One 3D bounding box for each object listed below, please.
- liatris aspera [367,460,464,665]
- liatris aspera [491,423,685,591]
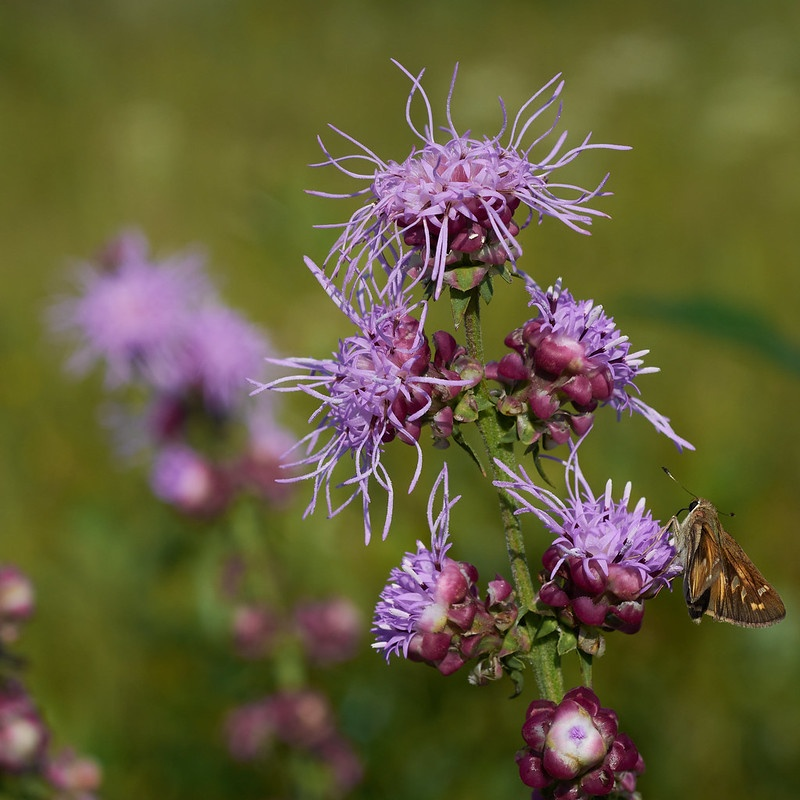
[{"bbox_3d":[0.069,0.619,4.432,0.280,0.673,0.351,25,0,13],"label":"liatris aspera"},{"bbox_3d":[0.640,0.507,4.216,0.317,0.424,0.197,5,-73,-16],"label":"liatris aspera"}]
